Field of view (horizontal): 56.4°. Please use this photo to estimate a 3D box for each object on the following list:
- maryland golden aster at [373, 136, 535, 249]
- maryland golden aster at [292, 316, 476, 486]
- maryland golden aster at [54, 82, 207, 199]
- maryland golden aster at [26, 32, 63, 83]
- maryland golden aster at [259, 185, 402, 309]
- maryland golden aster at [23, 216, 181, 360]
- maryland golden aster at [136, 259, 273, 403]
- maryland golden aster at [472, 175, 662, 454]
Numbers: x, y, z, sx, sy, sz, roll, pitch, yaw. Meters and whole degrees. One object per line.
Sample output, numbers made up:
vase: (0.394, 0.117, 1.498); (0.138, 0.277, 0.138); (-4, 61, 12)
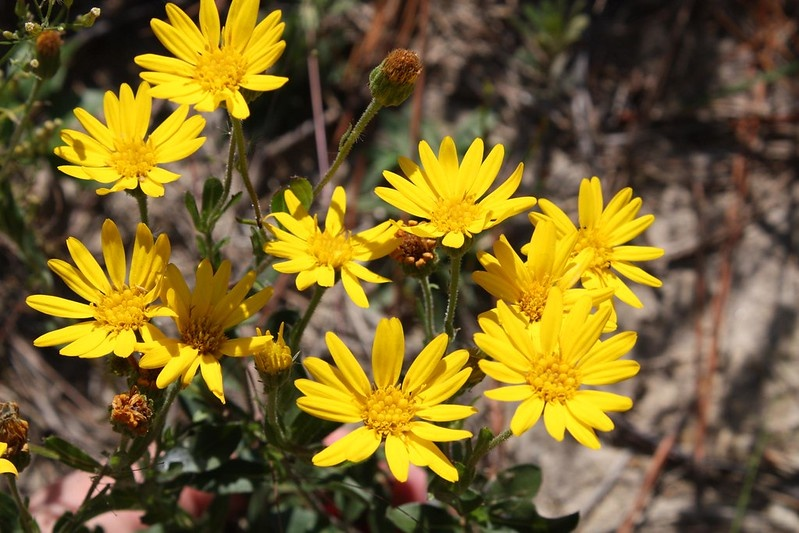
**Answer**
maryland golden aster: (0.197, -0.248, 2.693); (0.505, 0.545, 0.222); (-14, 69, 24)
maryland golden aster: (-0.022, 0.462, 2.471); (0.556, 0.163, 0.541); (25, 87, 3)
maryland golden aster: (-0.915, -0.399, 2.510); (0.435, 0.371, 0.404); (32, 43, 32)
maryland golden aster: (-1.322, -0.792, 2.786); (0.100, 0.198, 0.133); (20, 15, 42)
maryland golden aster: (-0.230, -0.060, 2.572); (0.413, 0.486, 0.141); (-27, 53, 21)
maryland golden aster: (-0.955, 0.125, 2.502); (0.471, 0.185, 0.489); (-25, 76, 10)
maryland golden aster: (-0.670, 0.216, 2.499); (0.447, 0.219, 0.447); (16, 64, 18)
maryland golden aster: (0.542, 0.168, 2.534); (0.655, 0.302, 0.981); (5, 77, -11)
